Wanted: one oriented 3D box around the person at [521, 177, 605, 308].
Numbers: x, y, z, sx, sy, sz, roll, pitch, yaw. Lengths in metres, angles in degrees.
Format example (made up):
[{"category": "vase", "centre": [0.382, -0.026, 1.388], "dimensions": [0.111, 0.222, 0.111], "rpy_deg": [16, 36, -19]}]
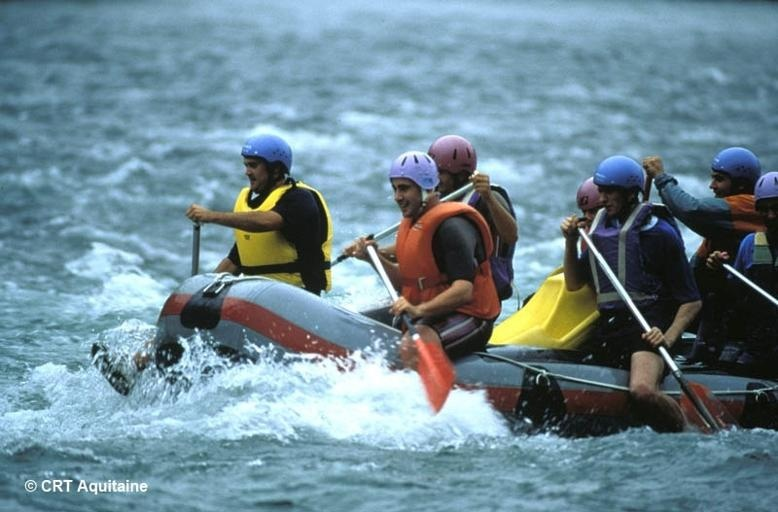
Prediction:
[{"category": "person", "centre": [2.981, -0.530, 21.977], "dimensions": [1.077, 1.420, 0.601], "rpy_deg": [16, 5, 14]}]
